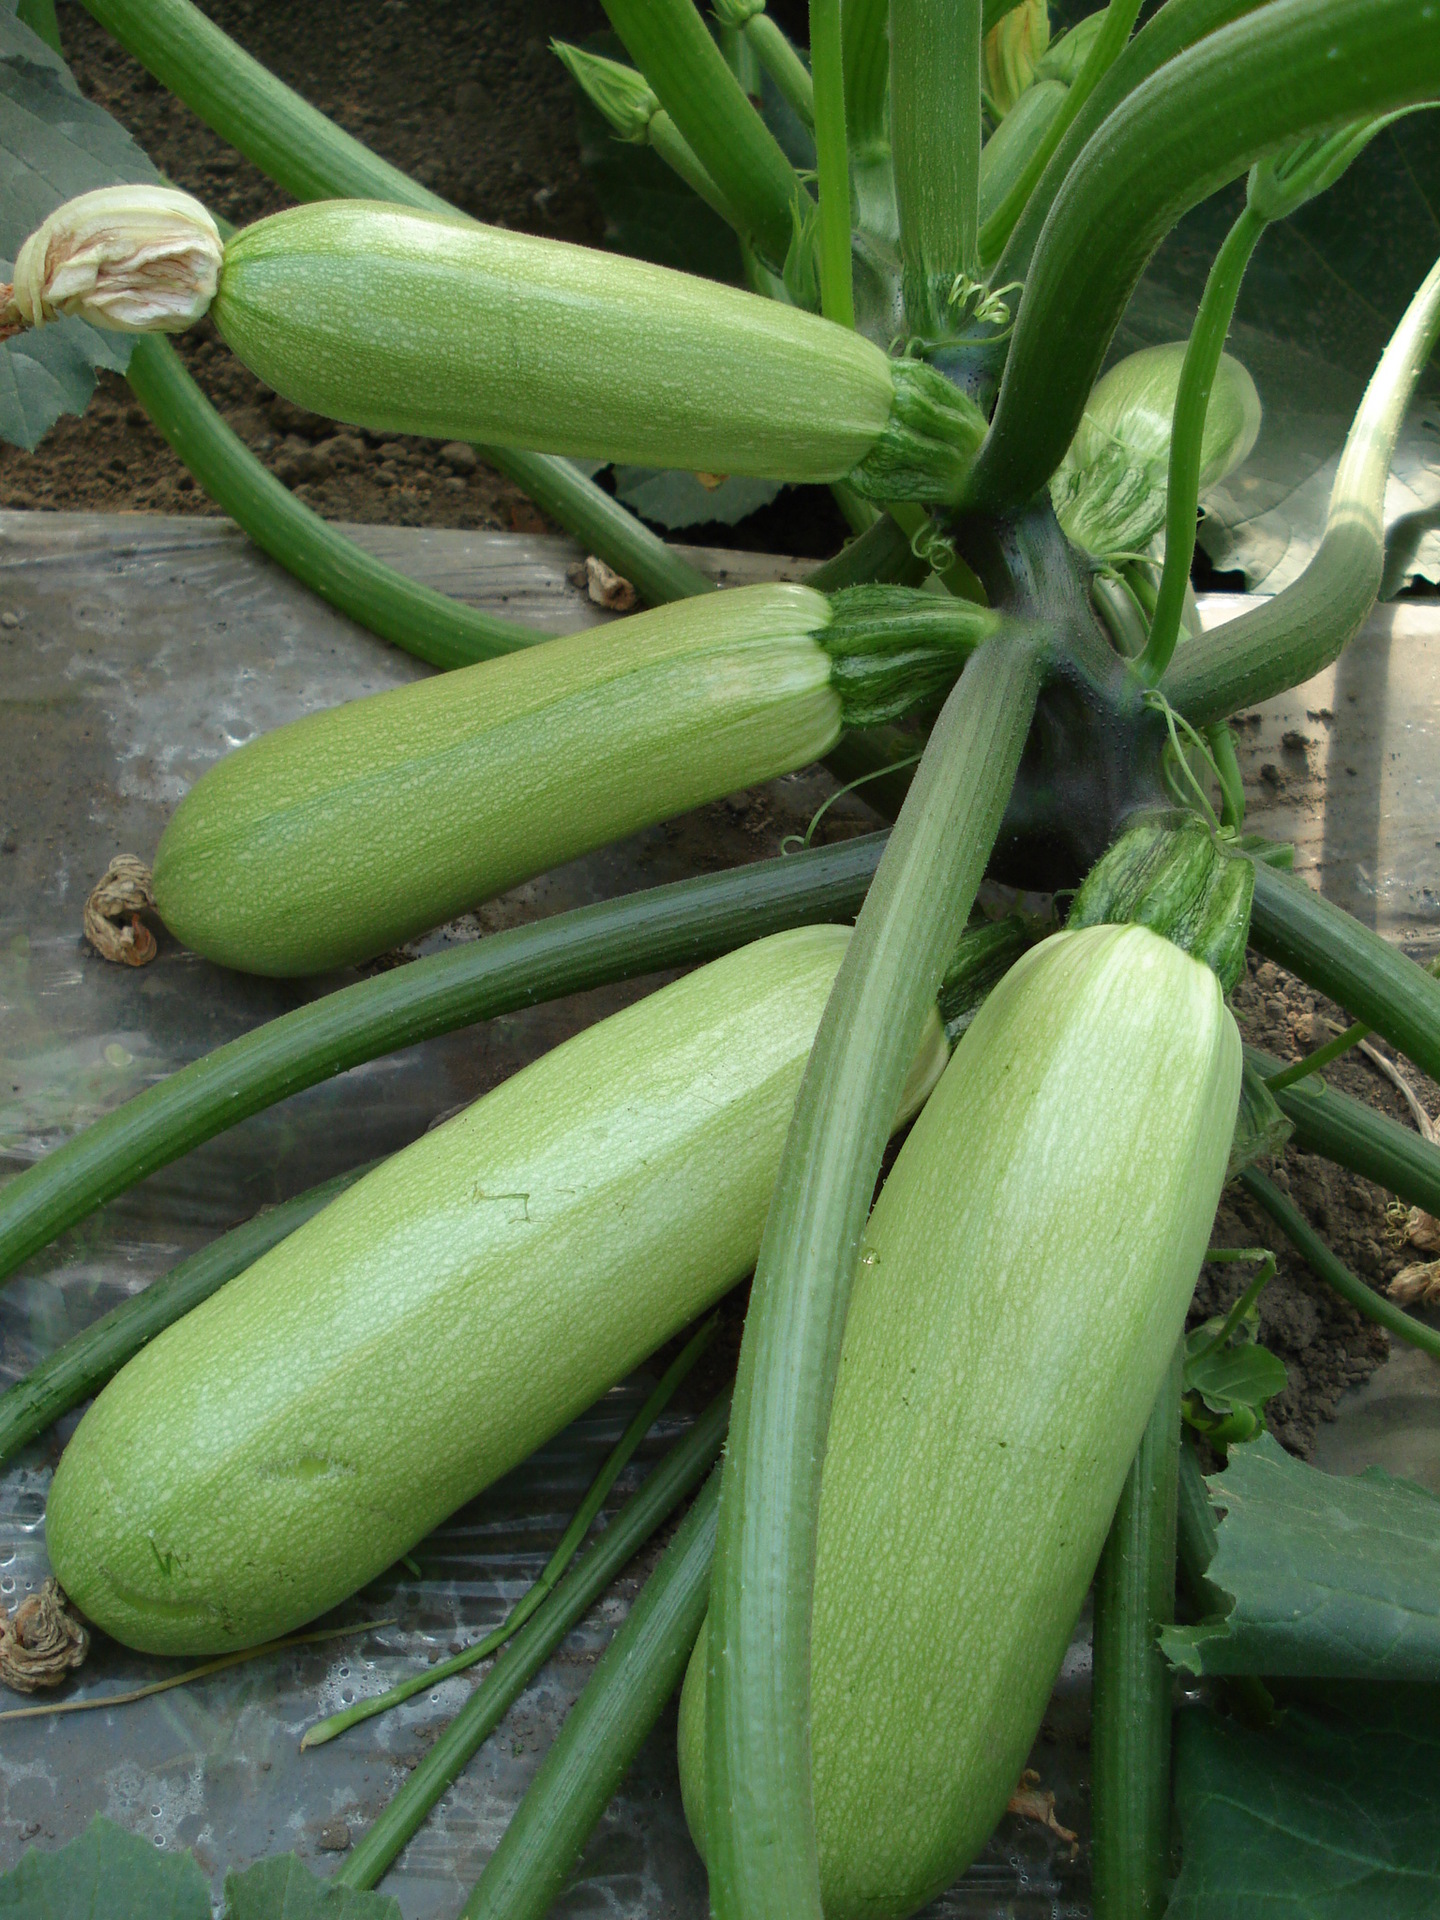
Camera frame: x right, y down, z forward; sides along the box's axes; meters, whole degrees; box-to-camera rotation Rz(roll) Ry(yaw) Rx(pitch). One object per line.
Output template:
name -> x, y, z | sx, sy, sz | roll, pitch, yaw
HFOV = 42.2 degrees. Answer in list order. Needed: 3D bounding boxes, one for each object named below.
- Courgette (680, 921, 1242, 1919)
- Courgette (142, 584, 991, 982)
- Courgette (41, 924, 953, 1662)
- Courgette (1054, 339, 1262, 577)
Courgette -> 0.232, 0.319, 1.545 | 0.335, 0.855, 0.314 | 24, -9, 8
Courgette -> -0.322, -0.142, 1.931 | 1.134, 0.245, 0.282 | -12, 11, 7
Courgette -> -0.187, 0.309, 1.610 | 0.999, 0.276, 0.270 | -30, 43, -13
Courgette -> 0.466, -0.549, 1.987 | 0.185, 0.208, 0.508 | 13, 21, 12
